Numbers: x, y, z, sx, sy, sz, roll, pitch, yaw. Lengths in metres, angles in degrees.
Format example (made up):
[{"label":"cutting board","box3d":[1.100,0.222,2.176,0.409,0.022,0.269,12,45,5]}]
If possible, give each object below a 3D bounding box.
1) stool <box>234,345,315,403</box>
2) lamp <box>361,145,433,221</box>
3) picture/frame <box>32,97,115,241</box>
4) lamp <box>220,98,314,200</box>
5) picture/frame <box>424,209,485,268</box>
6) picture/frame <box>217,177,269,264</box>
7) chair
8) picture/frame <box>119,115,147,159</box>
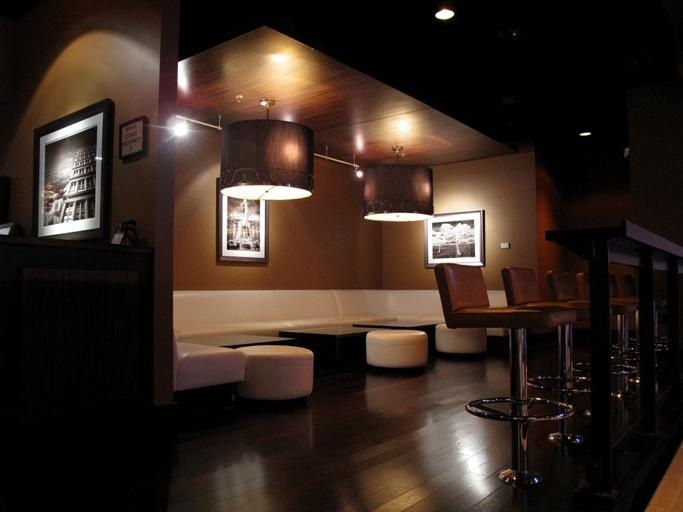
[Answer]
[{"label":"stool","box3d":[-0.543,0.899,4.348,0.477,0.310,0.492,-2,-4,25]},{"label":"lamp","box3d":[0.733,-0.953,6.882,0.934,1.025,0.945,-2,-9,17]},{"label":"picture/frame","box3d":[-1.991,-0.586,3.916,0.978,0.906,0.053,-2,-3,35]},{"label":"lamp","box3d":[-0.665,-0.954,5.213,0.763,0.871,0.788,-3,-8,12]},{"label":"picture/frame","box3d":[1.810,-0.302,8.280,0.922,0.901,0.101,-1,-4,30]},{"label":"picture/frame","box3d":[-1.232,-0.427,6.454,0.070,1.276,1.028,1,-1,30]},{"label":"chair","box3d":[1.454,0.662,3.442,1.089,1.901,1.015,-3,-5,32]},{"label":"picture/frame","box3d":[-1.360,-0.776,3.462,0.255,0.238,0.025,-6,-6,30]}]
